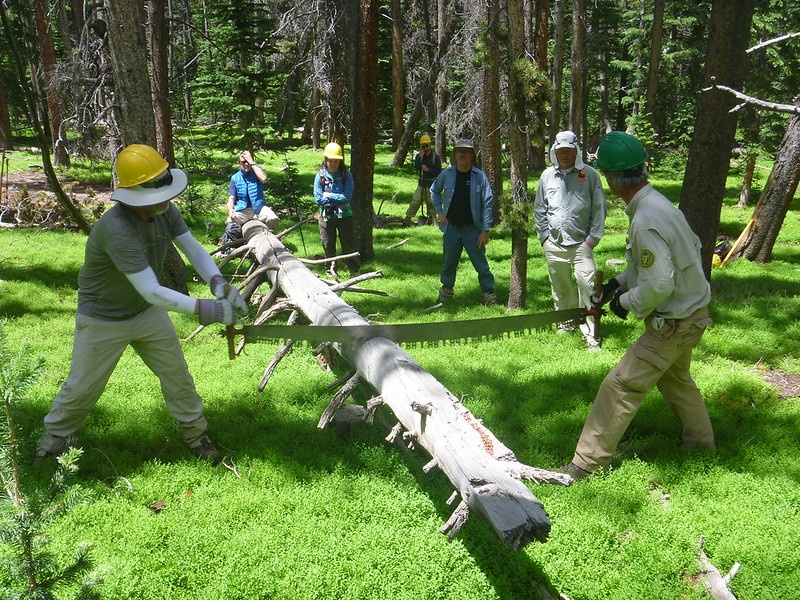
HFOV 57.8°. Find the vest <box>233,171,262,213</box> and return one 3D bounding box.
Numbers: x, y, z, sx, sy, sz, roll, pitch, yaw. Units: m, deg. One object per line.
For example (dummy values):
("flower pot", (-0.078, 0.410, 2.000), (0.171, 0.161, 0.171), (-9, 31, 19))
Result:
("vest", (-2.745, -1.902, 12.931), (0.629, 0.792, 0.402), (-6, 11, -24))

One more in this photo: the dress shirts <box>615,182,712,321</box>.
("dress shirts", (2.776, -0.537, 7.776), (0.909, 1.499, 1.465), (-5, 17, 23))

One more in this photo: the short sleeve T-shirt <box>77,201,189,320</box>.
("short sleeve T-shirt", (-2.855, -0.433, 7.651), (0.862, 1.371, 0.952), (28, 25, 21))

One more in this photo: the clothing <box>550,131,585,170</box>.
("clothing", (2.374, -2.082, 10.293), (0.480, 0.615, 0.534), (1, 10, 16))

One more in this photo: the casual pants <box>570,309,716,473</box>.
("casual pants", (2.733, 1.071, 8.065), (1.414, 2.151, 0.682), (-1, 30, -4))

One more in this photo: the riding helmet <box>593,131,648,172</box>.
("riding helmet", (2.255, -1.563, 7.614), (0.423, 0.302, 0.501), (-32, 37, -29))

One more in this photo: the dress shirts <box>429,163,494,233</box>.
("dress shirts", (0.989, -1.634, 11.709), (0.969, 1.120, 0.540), (5, -1, 10))

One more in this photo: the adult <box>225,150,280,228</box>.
("adult", (-2.714, -1.854, 12.957), (0.871, 1.572, 0.844), (-9, 24, -19))

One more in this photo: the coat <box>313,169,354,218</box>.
("coat", (-1.160, -1.883, 12.974), (0.660, 0.868, 0.472), (-2, 24, 4))

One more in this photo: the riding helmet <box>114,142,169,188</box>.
("riding helmet", (-2.677, -1.317, 7.333), (0.455, 0.261, 0.406), (8, 47, 28))

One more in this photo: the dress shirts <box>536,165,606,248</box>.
("dress shirts", (2.425, -1.312, 10.238), (0.995, 1.210, 0.594), (3, 6, 28))

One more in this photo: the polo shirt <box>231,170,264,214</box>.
("polo shirt", (-2.733, -1.898, 12.923), (0.677, 0.860, 0.435), (-6, 11, -24))
